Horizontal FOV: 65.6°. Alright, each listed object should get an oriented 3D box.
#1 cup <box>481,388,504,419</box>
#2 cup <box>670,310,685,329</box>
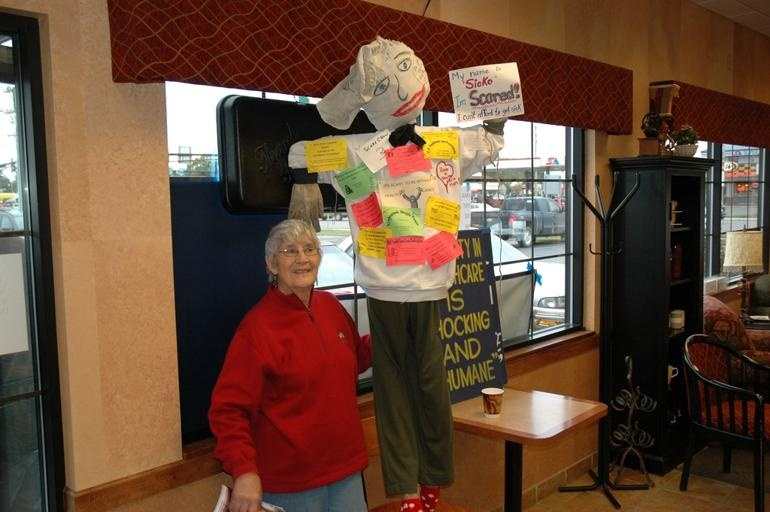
[{"bbox_3d":[0.551,0.779,3.174,0.126,0.109,0.130,-1,-2,0],"label":"cup"},{"bbox_3d":[2.312,0.496,4.714,0.093,0.138,0.140,-1,1,-1],"label":"cup"}]
